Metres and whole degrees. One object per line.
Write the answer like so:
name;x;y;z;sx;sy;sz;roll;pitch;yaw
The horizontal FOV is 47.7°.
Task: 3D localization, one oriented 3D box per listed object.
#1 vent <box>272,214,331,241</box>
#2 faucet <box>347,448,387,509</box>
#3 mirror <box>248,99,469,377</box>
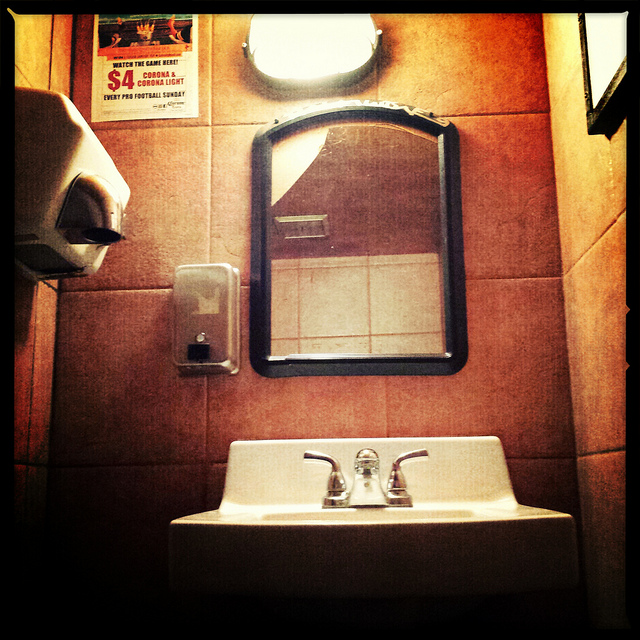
vent;-0.041;-0.203;1.593;0.129;0.055;0.026;-2;-6;4
faucet;0.089;0.302;1.355;0.103;0.108;0.097;-1;-5;5
mirror;0.090;-0.155;1.574;0.745;0.807;0.072;-1;-11;3
